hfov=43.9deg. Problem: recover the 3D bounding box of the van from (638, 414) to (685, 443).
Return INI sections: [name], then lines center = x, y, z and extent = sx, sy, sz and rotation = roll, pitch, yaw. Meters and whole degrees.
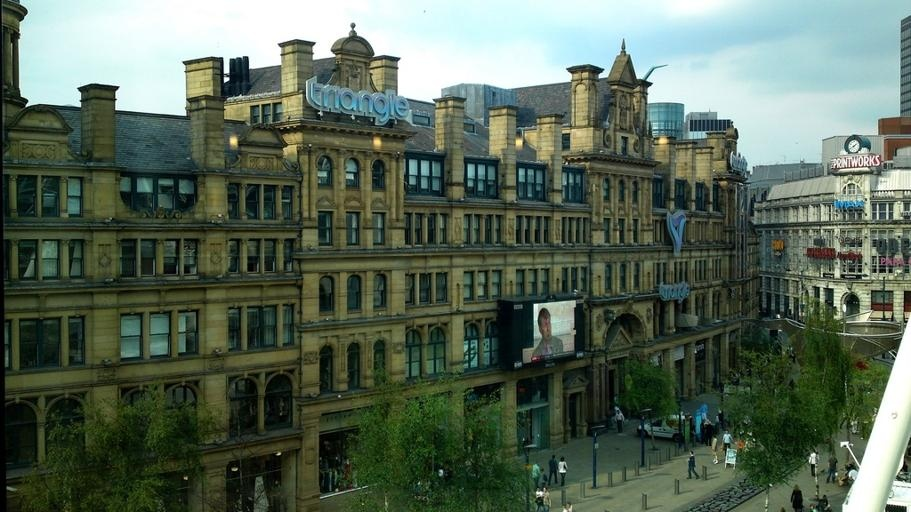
[van]
center = 24.759, 20.832, 136.197
extent = 4.858, 1.908, 3.270
rotation = 0, 0, 24
